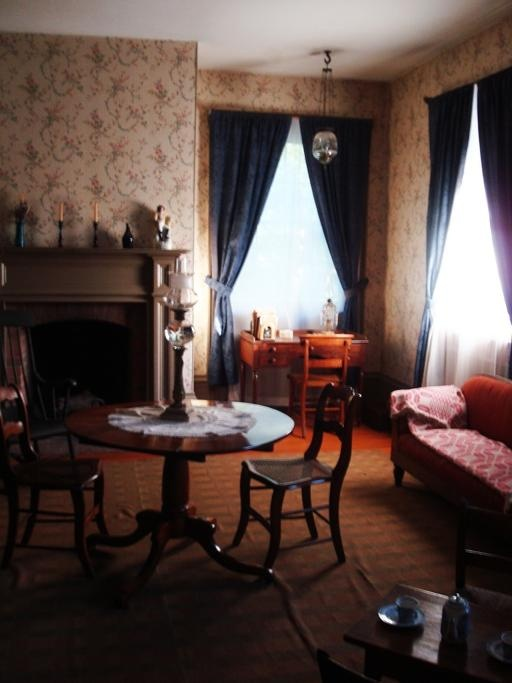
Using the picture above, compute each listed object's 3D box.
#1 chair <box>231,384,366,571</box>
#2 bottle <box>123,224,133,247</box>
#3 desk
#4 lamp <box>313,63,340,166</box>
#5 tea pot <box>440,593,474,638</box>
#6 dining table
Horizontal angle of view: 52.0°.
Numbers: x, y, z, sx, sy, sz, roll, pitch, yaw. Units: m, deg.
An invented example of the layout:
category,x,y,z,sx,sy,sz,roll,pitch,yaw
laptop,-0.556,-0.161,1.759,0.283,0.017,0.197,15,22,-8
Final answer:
category,x,y,z,sx,sy,sz,roll,pitch,yaw
chair,0.168,0.554,2.226,0.424,0.734,0.396,3,2,-17
bottle,-0.965,-0.789,3.948,0.084,0.194,0.157,1,3,-15
desk,0.514,0.307,4.630,0.895,0.778,0.587,0,6,10
lamp,0.588,-1.890,4.399,0.207,0.970,0.929,2,3,6
tea pot,0.411,0.555,1.073,0.052,0.099,0.088,0,10,30
dining table,-0.324,0.596,2.119,0.823,0.619,0.867,0,7,-31
